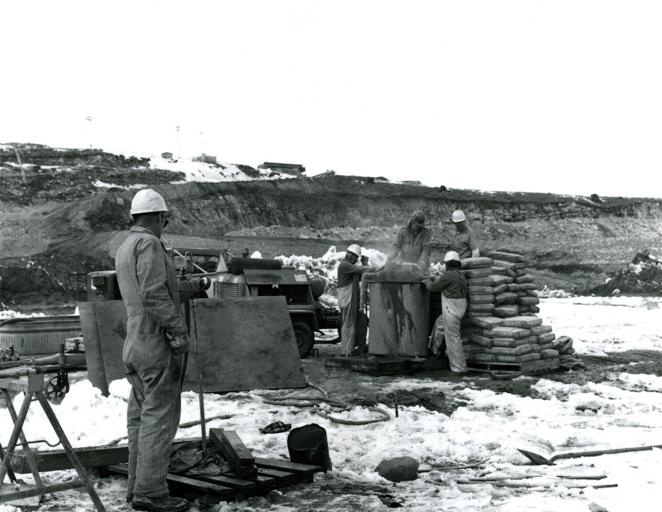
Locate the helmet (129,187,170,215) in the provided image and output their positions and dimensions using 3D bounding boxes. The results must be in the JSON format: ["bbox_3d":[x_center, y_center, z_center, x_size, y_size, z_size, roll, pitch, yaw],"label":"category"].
[{"bbox_3d":[-2.077,-0.602,9.360,0.287,0.210,0.355,-1,2,-43],"label":"helmet"}]

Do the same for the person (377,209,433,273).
[{"bbox_3d":[1.528,-0.325,16.602,0.835,1.116,2.770,1,7,7],"label":"person"}]

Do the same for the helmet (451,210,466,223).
[{"bbox_3d":[2.411,-0.738,16.164,0.344,0.238,0.469,-12,3,7],"label":"helmet"}]

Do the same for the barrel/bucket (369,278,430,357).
[{"bbox_3d":[1.207,1.146,15.761,1.326,1.313,1.287,0,-1,0],"label":"barrel/bucket"}]

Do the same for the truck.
[{"bbox_3d":[-1.916,0.639,17.515,4.452,1.991,2.630,-1,2,-18],"label":"truck"}]

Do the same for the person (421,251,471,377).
[{"bbox_3d":[2.031,0.973,14.920,0.774,2.050,0.873,0,8,-1],"label":"person"}]

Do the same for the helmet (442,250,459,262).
[{"bbox_3d":[2.126,0.002,15.085,0.205,0.140,0.251,-1,4,-3],"label":"helmet"}]

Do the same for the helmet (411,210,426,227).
[{"bbox_3d":[1.738,-0.759,16.490,0.256,0.325,0.258,1,-28,-12],"label":"helmet"}]

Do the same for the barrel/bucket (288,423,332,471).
[{"bbox_3d":[-0.271,2.298,10.070,0.490,0.494,0.397,3,8,19],"label":"barrel/bucket"}]
